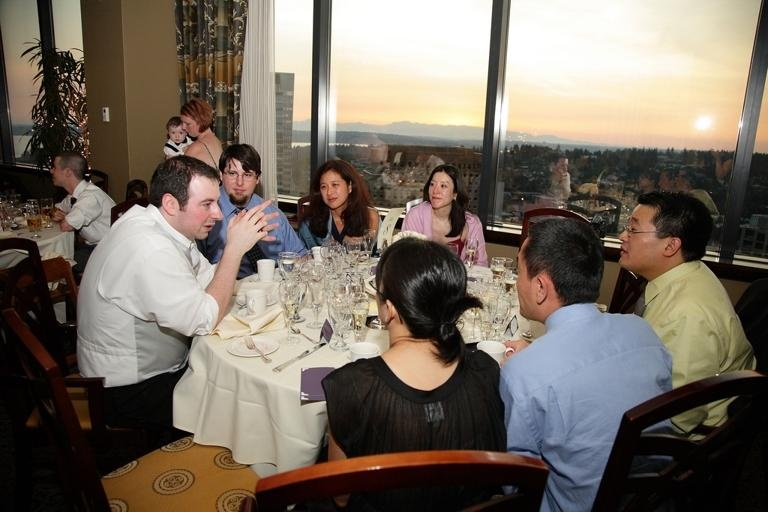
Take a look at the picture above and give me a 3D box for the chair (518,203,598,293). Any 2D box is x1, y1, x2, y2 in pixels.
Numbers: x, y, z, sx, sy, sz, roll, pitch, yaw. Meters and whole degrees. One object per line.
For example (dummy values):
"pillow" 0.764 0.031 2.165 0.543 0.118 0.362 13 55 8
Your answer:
"chair" 0.706 -0.008 1.990 0.234 0.325 0.318 -4 11 -13

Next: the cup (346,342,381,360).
"cup" -0.088 0.396 2.051 0.092 0.076 0.080 0 8 9

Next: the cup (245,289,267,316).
"cup" -0.634 0.226 2.425 0.077 0.097 0.129 4 20 7

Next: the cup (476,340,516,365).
"cup" 0.500 0.404 2.129 0.151 0.115 0.100 -2 6 -22

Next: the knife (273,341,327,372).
"knife" -0.379 0.454 2.155 0.031 0.019 0.253 23 24 20

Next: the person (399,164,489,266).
"person" 0.486 -0.318 3.469 0.636 0.835 0.517 13 29 28

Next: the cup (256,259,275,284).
"cup" -0.688 0.085 2.827 0.117 0.143 0.116 2 10 0
